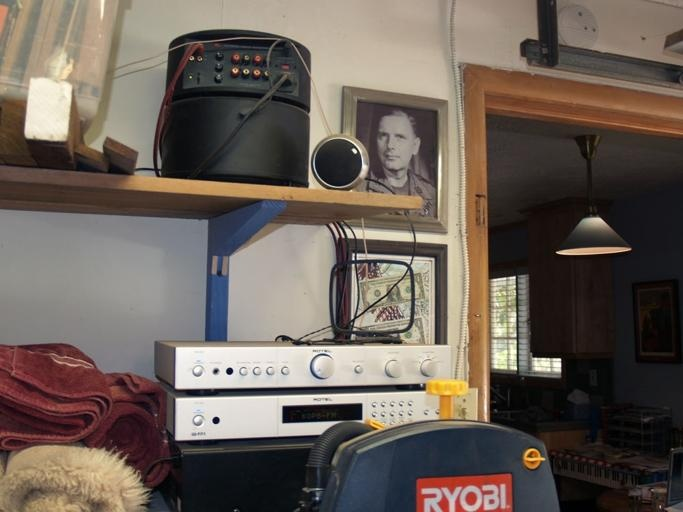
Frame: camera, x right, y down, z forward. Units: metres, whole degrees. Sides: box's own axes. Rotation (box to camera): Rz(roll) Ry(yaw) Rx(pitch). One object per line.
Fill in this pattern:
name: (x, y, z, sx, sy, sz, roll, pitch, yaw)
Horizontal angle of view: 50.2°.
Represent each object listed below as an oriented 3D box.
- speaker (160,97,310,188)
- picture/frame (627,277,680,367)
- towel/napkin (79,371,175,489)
speaker: (-0.250, -0.276, 1.787, 0.227, 0.120, 0.240, 3, -6, -5)
picture/frame: (2.310, 0.478, 5.351, 0.059, 0.852, 0.580, 2, -6, -21)
towel/napkin: (-0.479, 0.387, 1.672, 0.212, 0.236, 0.085, 1, 5, 37)
